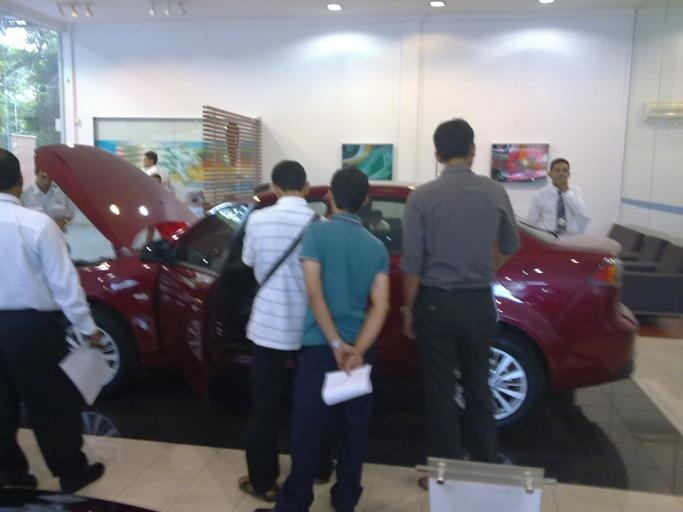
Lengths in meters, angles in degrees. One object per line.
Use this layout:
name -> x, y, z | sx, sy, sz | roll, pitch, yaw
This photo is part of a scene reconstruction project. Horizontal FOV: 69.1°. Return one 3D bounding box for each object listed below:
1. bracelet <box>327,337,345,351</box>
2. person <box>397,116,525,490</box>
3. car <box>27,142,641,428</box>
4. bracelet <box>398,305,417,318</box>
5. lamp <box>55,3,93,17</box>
bracelet -> -0.018, 0.341, 1.910 | 0.041, 0.037, 0.039 | -8, -2, -9
person -> 0.514, 0.184, 2.188 | 0.467, 1.512, 0.288 | 5, 15, 21
car -> 0.065, 0.162, 3.251 | 2.645, 1.370, 1.639 | 3, 6, 7
bracelet -> 0.294, 0.245, 2.225 | 0.047, 0.033, 0.038 | 6, -19, -21
lamp -> -2.244, -2.075, 4.175 | 0.273, 0.126, 0.119 | 8, 14, 27
